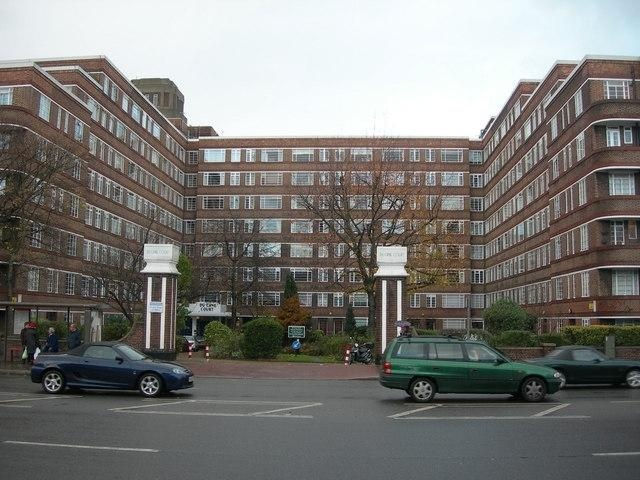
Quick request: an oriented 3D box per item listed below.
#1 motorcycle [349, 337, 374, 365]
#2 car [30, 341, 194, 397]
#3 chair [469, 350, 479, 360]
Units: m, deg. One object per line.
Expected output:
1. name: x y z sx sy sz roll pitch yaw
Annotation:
1. motorcycle: 2.318 6.220 40.024 1.225 1.335 1.902 -2 -13 5
2. car: -7.188 4.393 24.618 5.173 1.881 0.832 -3 -13 8
3. chair: 5.015 3.719 23.472 0.236 0.350 0.307 -2 -43 12
